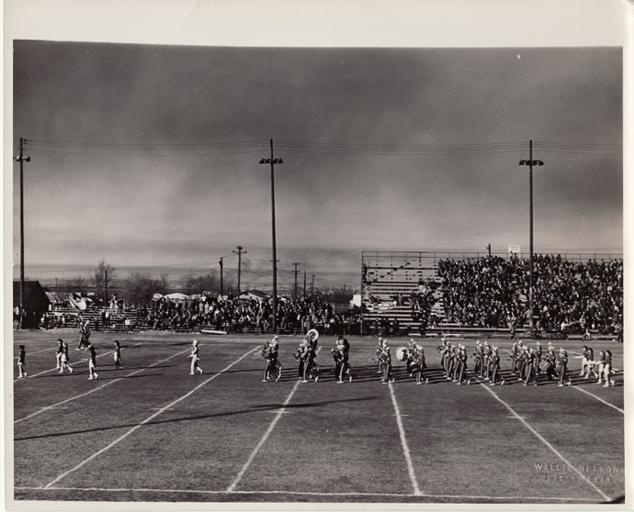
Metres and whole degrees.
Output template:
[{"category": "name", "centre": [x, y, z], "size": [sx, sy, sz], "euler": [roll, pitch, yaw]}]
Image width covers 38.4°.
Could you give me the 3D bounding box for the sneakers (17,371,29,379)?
[{"category": "sneakers", "centre": [-10.244, 4.110, 31.354], "size": [0.450, 0.299, 0.187], "euler": [2, -2, -6]}]
